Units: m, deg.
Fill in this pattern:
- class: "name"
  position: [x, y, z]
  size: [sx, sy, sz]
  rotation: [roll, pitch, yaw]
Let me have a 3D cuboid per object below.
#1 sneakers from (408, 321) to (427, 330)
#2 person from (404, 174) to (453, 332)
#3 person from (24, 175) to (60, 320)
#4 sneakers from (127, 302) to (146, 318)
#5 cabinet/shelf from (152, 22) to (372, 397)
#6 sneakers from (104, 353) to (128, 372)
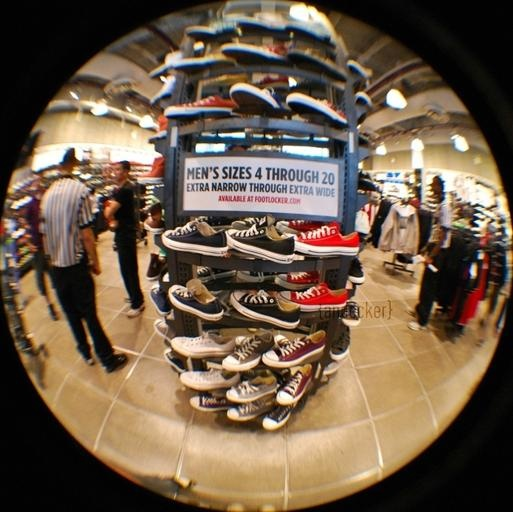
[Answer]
- class: "sneakers"
  position: [1.116, 0.474, 2.566]
  size: [0.120, 0.045, 0.046]
  rotation: [13, 3, 12]
- class: "person"
  position: [1.119, 0.030, 2.331]
  size: [0.154, 0.974, 0.464]
  rotation: [9, 9, 23]
- class: "person"
  position: [-1.191, 0.020, 2.107]
  size: [0.146, 0.861, 0.585]
  rotation: [1, 9, -27]
- class: "sneakers"
  position: [-0.831, 0.384, 2.588]
  size: [0.049, 0.048, 0.129]
  rotation: [5, 3, 10]
- class: "cabinet/shelf"
  position: [0.036, -0.259, 2.027]
  size: [1.187, 1.923, 0.682]
  rotation: [4, 9, -7]
- class: "sneakers"
  position: [-0.807, 0.610, 2.172]
  size: [0.059, 0.056, 0.134]
  rotation: [16, 28, 22]
